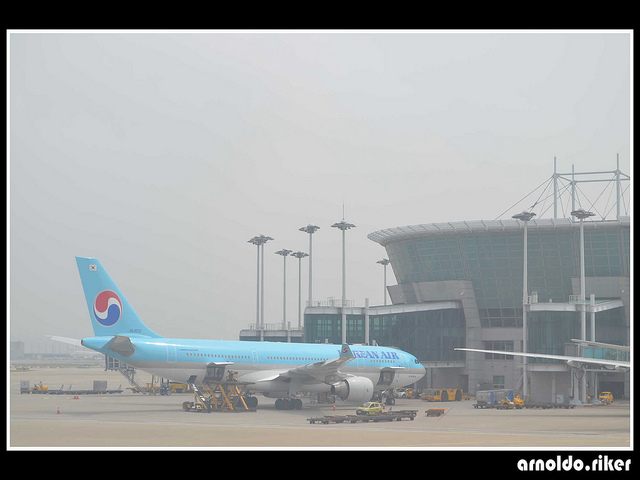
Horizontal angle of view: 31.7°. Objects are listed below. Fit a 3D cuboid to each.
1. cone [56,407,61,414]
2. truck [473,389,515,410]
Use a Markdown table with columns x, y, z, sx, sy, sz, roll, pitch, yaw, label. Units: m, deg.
| x | y | z | sx | sy | sz | roll | pitch | yaw | label |
| --- | --- | --- | --- | --- | --- | --- | --- | --- | --- |
| -13.817 | 9.076 | 59.798 | 0.285 | 0.272 | 0.265 | 0 | 1 | -10 | cone |
| 11.176 | 10.167 | 71.900 | 3.395 | 1.111 | 1.695 | 8 | -13 | -41 | truck |
